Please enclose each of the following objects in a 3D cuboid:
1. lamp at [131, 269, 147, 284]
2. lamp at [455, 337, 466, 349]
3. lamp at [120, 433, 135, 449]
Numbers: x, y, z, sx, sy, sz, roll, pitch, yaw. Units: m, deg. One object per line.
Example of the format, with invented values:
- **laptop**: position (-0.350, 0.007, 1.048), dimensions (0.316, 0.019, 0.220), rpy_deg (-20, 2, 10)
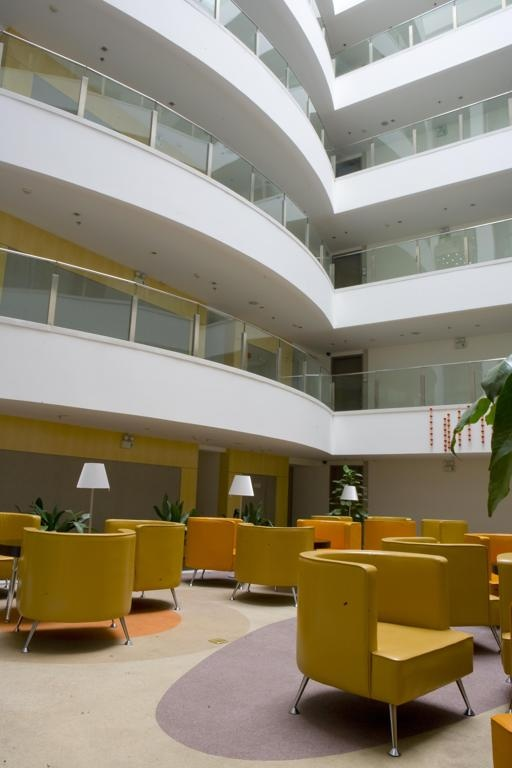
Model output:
- **lamp**: position (-2.163, -1.964, 10.153), dimensions (0.088, 0.358, 0.336), rpy_deg (5, 6, 38)
- **lamp**: position (4.851, -0.948, 12.954), dimensions (0.261, 0.270, 0.165), rpy_deg (-4, -9, 33)
- **lamp**: position (-2.199, 0.976, 9.320), dimensions (0.083, 0.230, 0.235), rpy_deg (1, -10, 28)
